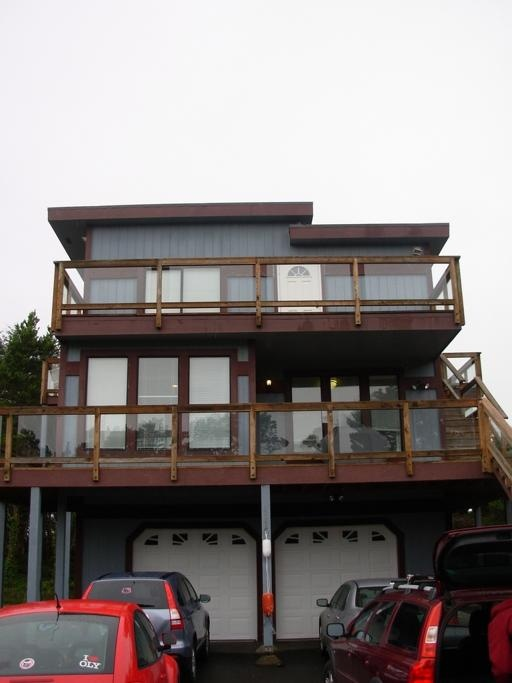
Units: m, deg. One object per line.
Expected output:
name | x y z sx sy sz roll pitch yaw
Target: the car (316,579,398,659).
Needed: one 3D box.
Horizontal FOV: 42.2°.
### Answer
car | 1.430 4.195 10.697 1.369 1.064 2.774 1 -16 -6
